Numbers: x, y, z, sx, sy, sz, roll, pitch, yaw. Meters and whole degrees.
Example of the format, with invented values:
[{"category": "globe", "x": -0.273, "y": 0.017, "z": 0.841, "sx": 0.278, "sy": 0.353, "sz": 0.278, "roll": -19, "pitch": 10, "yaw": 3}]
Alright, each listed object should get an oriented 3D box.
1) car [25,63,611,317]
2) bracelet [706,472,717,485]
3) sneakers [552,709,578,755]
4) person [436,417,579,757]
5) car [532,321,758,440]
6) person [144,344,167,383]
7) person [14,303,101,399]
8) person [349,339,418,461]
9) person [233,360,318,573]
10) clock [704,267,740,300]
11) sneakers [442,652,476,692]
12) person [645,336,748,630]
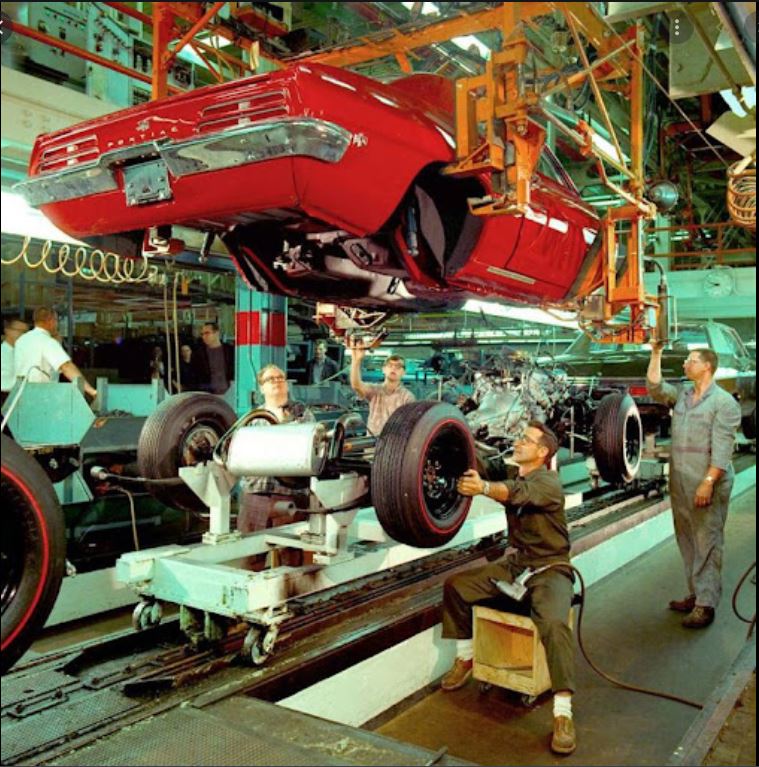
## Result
[{"category": "car", "x": 0.201, "y": -0.801, "z": 3.674, "sx": 1.438, "sy": 0.694, "sz": 2.973, "roll": 3, "pitch": 5, "yaw": 40}, {"category": "bracelet", "x": 2.220, "y": 0.634, "z": 4.410, "sx": 0.057, "sy": 0.054, "sz": 0.096, "roll": -43, "pitch": -23, "yaw": 1}, {"category": "sneakers", "x": 0.837, "y": 1.587, "z": 2.985, "sx": 0.111, "sy": 0.164, "sz": 0.165, "roll": -6, "pitch": -3, "yaw": 10}, {"category": "person", "x": 0.669, "y": 0.967, "z": 3.609, "sx": 0.754, "sy": 1.494, "sz": 1.278, "roll": -6, "pitch": -4, "yaw": 12}, {"category": "car", "x": 3.768, "y": -0.125, "z": 8.685, "sx": 1.888, "sy": 0.935, "sz": 3.334, "roll": 2, "pitch": 3, "yaw": 38}, {"category": "person", "x": -3.737, "y": -0.379, "z": 11.120, "sx": 0.289, "sy": 0.679, "sz": 1.289, "roll": -4, "pitch": -3, "yaw": -19}, {"category": "person", "x": -2.624, "y": -0.289, "z": 5.219, "sx": 0.506, "sy": 0.651, "sz": 0.349, "roll": -3, "pitch": -4, "yaw": -21}, {"category": "person", "x": 0.027, "y": 0.060, "z": 5.241, "sx": 0.462, "sy": 0.656, "sz": 0.798, "roll": -5, "pitch": -3, "yaw": 2}, {"category": "person", "x": -0.548, "y": 0.551, "z": 4.024, "sx": 0.558, "sy": 1.246, "sz": 0.393, "roll": -7, "pitch": -2, "yaw": 8}, {"category": "clock", "x": 7.606, "y": -2.282, "z": 14.625, "sx": 0.749, "sy": 0.588, "sz": 0.176, "roll": 6, "pitch": 2, "yaw": 37}, {"category": "sneakers", "x": 0.439, "y": 1.568, "z": 3.578, "sx": 0.107, "sy": 0.090, "sz": 0.270, "roll": -5, "pitch": -6, "yaw": 43}, {"category": "person", "x": 2.286, "y": 0.651, "z": 4.702, "sx": 0.601, "sy": 1.406, "sz": 0.683, "roll": -7, "pitch": -4, "yaw": 18}]
